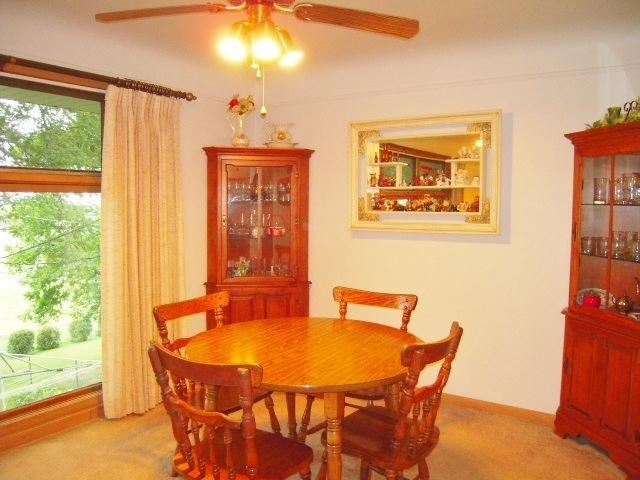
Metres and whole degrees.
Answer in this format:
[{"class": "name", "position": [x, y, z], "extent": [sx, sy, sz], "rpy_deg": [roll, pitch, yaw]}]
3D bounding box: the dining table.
[{"class": "dining table", "position": [-0.014, 0.695, 3.067], "extent": [1.171, 0.725, 1.144], "rpy_deg": [7, 12, 40]}]

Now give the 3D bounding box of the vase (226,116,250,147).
[{"class": "vase", "position": [-0.827, -1.098, 4.944], "extent": [0.187, 0.345, 0.617], "rpy_deg": [1, 5, -10]}]

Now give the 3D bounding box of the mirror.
[{"class": "mirror", "position": [0.996, -0.623, 4.455], "extent": [0.825, 0.500, 0.119], "rpy_deg": [3, 6, 29]}]

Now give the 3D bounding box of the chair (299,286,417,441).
[{"class": "chair", "position": [0.338, 0.908, 3.464], "extent": [0.747, 1.062, 0.758], "rpy_deg": [16, 1, 7]}]

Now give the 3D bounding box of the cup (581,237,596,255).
[{"class": "cup", "position": [2.040, 0.042, 3.701], "extent": [0.116, 0.125, 0.114], "rpy_deg": [-2, 8, 0]}]

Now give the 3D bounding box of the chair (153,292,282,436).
[{"class": "chair", "position": [-0.703, 0.965, 3.397], "extent": [0.767, 1.049, 0.705], "rpy_deg": [-7, 12, -43]}]
